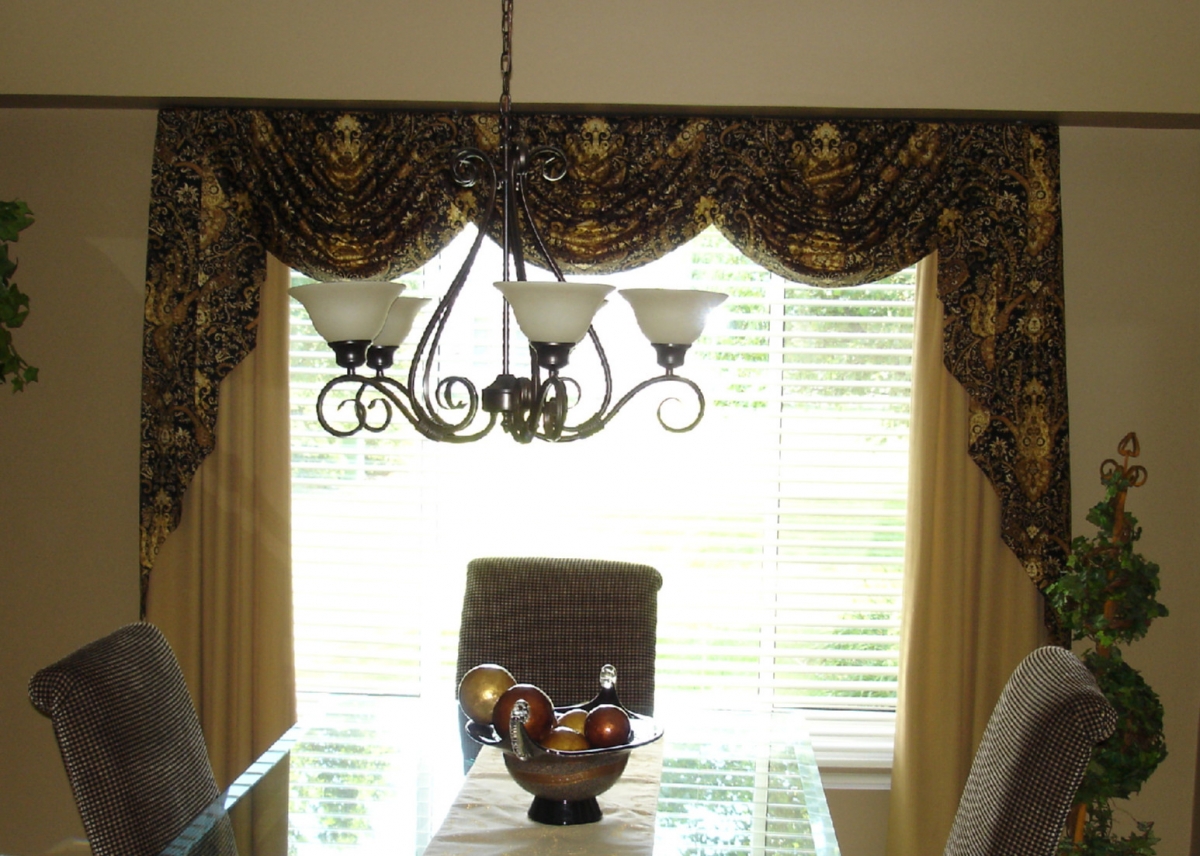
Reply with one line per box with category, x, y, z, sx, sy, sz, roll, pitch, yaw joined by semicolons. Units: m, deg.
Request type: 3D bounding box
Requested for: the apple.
apple;-0.157;0.761;3.331;0.350;0.164;0.228;3;-10;3
